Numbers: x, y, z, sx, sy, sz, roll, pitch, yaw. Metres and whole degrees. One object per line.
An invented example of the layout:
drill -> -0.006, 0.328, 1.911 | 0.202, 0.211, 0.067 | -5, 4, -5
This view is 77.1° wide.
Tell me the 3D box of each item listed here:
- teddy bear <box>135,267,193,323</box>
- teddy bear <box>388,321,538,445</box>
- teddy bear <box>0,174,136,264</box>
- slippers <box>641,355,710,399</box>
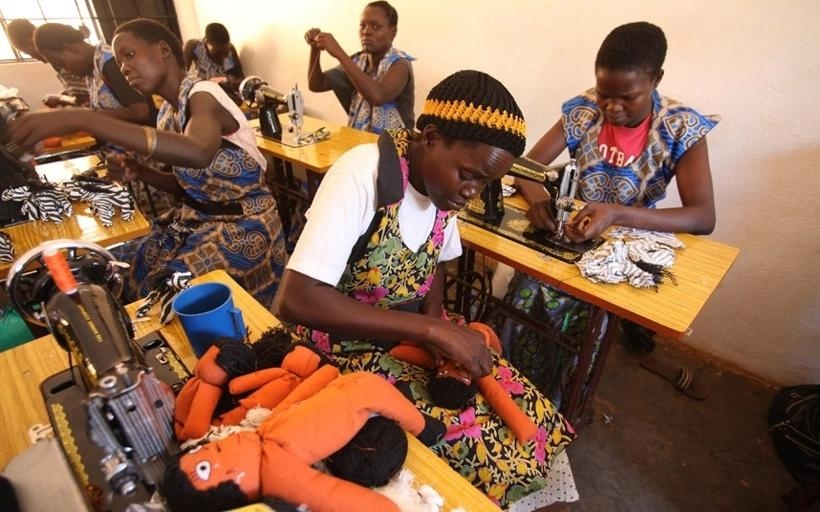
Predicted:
teddy bear -> -1.301, 0.203, 2.767 | 0.223, 0.137, 0.382 | 8, 20, -13
teddy bear -> 0.167, 0.559, 2.918 | 0.228, 0.749, 1.301 | -51, 18, -14
teddy bear -> -2.246, -0.310, 3.319 | 0.773, 0.296, 0.601 | -20, 35, -37
slippers -> 2.081, 0.941, 4.033 | 0.230, 0.085, 0.413 | -33, 39, -23
